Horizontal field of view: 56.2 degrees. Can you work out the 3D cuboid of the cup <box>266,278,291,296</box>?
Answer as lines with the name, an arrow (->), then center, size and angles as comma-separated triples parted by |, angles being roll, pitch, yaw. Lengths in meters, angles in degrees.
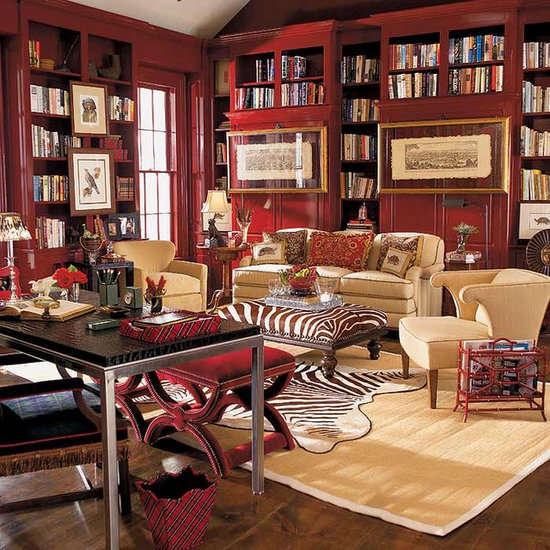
cup -> 0.024, 0.115, 4.712 | 0.174, 0.117, 0.176 | 0, 0, 0

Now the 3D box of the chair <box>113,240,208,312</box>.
chair -> -1.353, 0.021, 5.851 | 0.898, 0.724, 0.858 | 14, 16, 37

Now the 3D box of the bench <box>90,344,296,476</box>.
bench -> -0.435, 0.654, 2.762 | 0.934, 0.440, 0.619 | 2, 9, 36

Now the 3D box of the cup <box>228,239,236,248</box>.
cup -> -0.569, -0.418, 6.835 | 0.127, 0.129, 0.154 | 1, 2, 21

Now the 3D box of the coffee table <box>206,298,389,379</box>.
coffee table -> 0.228, 0.498, 4.589 | 1.330, 0.371, 1.064 | 6, 8, 27

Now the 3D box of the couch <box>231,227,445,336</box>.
couch -> 0.650, -0.039, 6.082 | 2.353, 0.839, 0.952 | 6, 18, 30

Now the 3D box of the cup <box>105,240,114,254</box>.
cup -> -1.894, -0.319, 5.898 | 0.126, 0.128, 0.070 | -2, -37, -7

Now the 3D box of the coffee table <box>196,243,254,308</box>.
coffee table -> -0.671, -0.007, 7.089 | 1.014, 0.795, 0.879 | 0, 2, -2
